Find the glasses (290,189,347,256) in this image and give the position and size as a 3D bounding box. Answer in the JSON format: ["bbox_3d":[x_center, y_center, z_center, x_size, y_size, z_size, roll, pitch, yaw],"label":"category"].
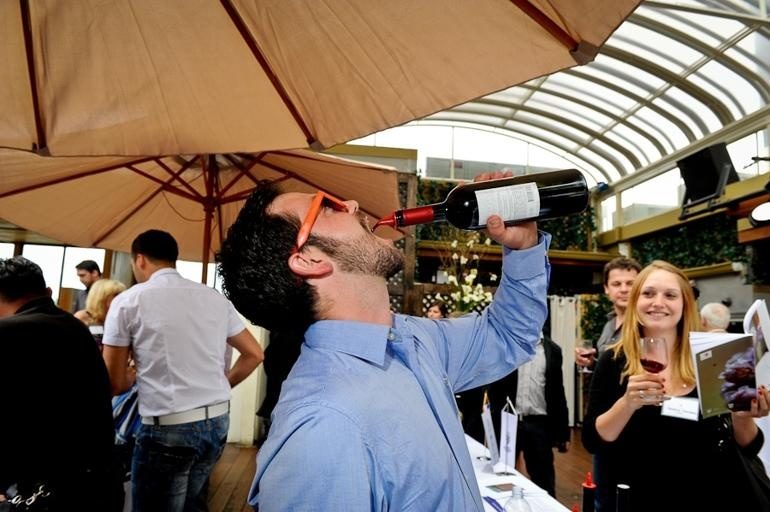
[{"bbox_3d":[-0.227,-0.181,2.179,0.071,0.172,0.385,16,30,24],"label":"glasses"}]

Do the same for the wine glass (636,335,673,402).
[{"bbox_3d":[1.288,0.520,2.833,0.145,0.257,0.150,-1,3,4],"label":"wine glass"}]

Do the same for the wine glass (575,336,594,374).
[{"bbox_3d":[1.343,0.688,3.884,0.133,0.211,0.131,8,-19,32],"label":"wine glass"}]
